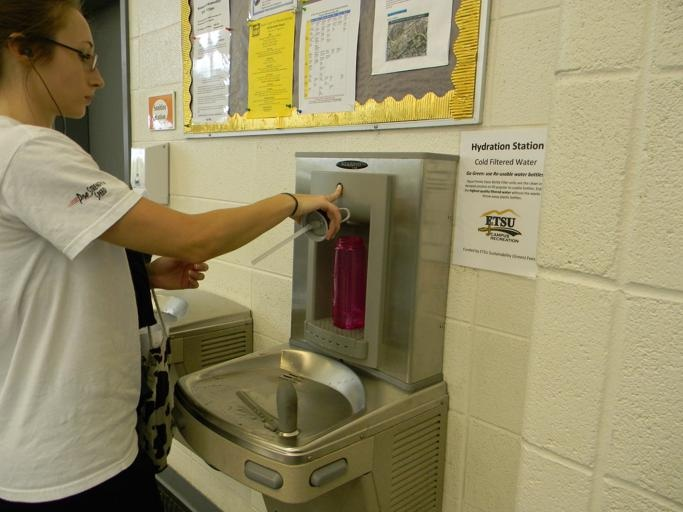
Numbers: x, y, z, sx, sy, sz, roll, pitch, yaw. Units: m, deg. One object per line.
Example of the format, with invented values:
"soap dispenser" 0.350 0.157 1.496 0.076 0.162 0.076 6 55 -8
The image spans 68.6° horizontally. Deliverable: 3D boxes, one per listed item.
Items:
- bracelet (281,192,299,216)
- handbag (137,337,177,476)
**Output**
"bracelet" -0.121 -0.125 1.238 0.038 0.049 0.050 -5 -26 9
"handbag" -0.477 0.399 1.305 0.064 0.262 0.188 0 -6 -5
